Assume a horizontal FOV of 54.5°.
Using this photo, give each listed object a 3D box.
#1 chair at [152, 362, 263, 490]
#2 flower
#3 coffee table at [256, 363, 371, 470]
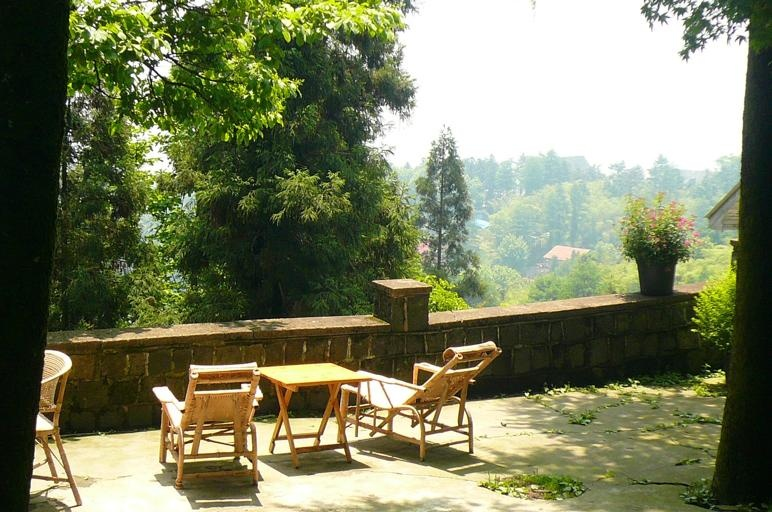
[{"bbox_3d":[-1.471,1.503,6.868,0.675,0.706,1.008,20,-22,-9],"label":"chair"},{"bbox_3d":[3.978,-0.248,10.896,0.826,0.763,0.966,23,-11,-41],"label":"flower"},{"bbox_3d":[-0.729,1.563,7.238,0.877,0.767,0.846,3,-3,-30],"label":"coffee table"}]
